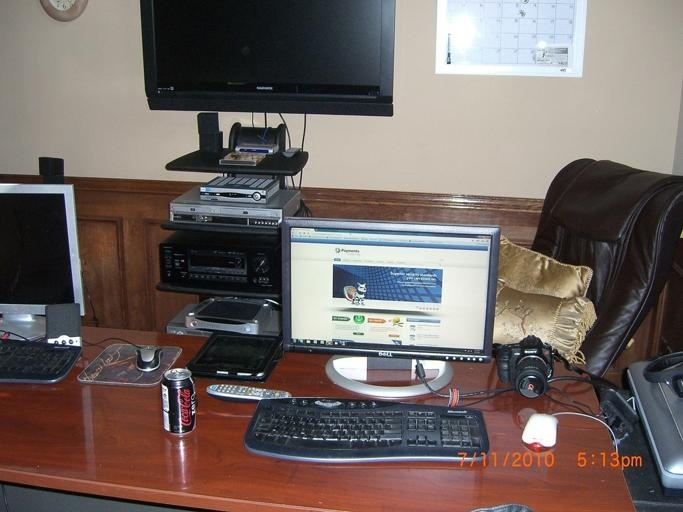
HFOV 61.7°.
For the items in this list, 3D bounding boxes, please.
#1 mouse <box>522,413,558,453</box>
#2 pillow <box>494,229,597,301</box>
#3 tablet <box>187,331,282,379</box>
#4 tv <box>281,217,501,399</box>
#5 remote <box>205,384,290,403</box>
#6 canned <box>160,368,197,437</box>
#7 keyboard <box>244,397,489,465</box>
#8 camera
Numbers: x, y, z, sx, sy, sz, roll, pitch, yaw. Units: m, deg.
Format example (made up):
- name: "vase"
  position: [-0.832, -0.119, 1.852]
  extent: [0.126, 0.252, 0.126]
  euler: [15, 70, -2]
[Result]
- name: "mouse"
  position: [0.588, 0.509, 1.708]
  extent: [0.088, 0.047, 0.151]
  euler: [1, 28, 21]
- name: "pillow"
  position: [0.879, 0.082, 2.489]
  extent: [0.388, 0.235, 0.106]
  euler: [24, 8, 28]
- name: "tablet"
  position: [-0.379, 0.356, 2.019]
  extent: [0.394, 0.013, 0.337]
  euler: [9, 16, 34]
- name: "tv"
  position: [0.163, 0.122, 1.859]
  extent: [0.657, 0.607, 0.177]
  euler: [4, 17, 5]
- name: "remote"
  position: [-0.306, 0.436, 1.860]
  extent: [0.274, 0.054, 0.091]
  euler: [4, 8, 4]
- name: "canned"
  position: [-0.486, 0.441, 1.699]
  extent: [0.128, 0.228, 0.128]
  euler: [0, 19, -4]
- name: "keyboard"
  position: [0.078, 0.519, 1.731]
  extent: [0.704, 0.051, 0.254]
  euler: [0, 23, 3]
- name: "camera"
  position: [0.577, 0.341, 1.896]
  extent: [0.181, 0.177, 0.224]
  euler: [2, 14, 8]
